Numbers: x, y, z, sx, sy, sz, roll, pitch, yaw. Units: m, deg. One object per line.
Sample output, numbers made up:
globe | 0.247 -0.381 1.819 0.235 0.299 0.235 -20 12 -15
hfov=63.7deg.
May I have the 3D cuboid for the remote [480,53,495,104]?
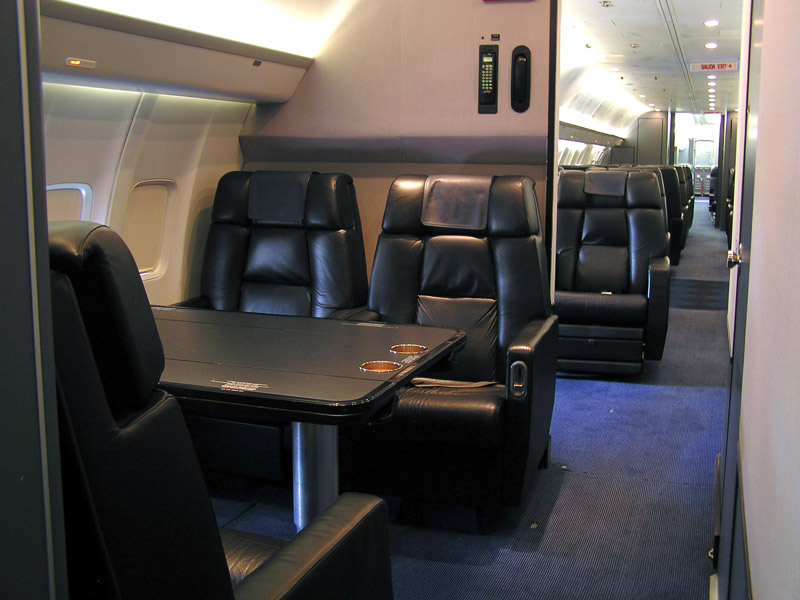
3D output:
remote | 0.480 -1.197 3.502 0.072 0.253 0.018 0 11 5
